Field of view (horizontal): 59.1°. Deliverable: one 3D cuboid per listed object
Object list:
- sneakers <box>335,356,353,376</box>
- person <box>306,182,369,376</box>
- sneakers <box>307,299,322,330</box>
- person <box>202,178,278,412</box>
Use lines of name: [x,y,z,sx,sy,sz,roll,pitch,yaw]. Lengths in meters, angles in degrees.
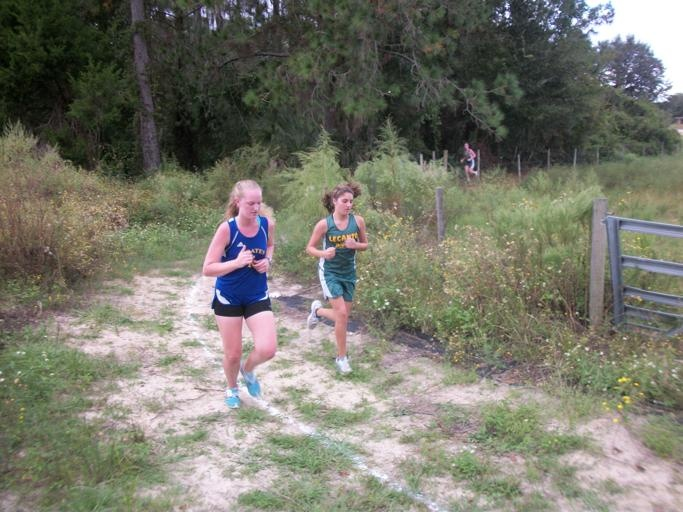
sneakers: [0.026,1.585,8.817,0.120,0.154,0.315,-12,29,-30]
person: [-0.065,0.302,8.906,0.841,2.736,0.860,0,6,-1]
sneakers: [-0.440,0.969,9.477,0.214,0.554,0.188,14,18,21]
person: [-1.260,0.516,7.605,0.821,2.929,0.674,-1,6,-8]
